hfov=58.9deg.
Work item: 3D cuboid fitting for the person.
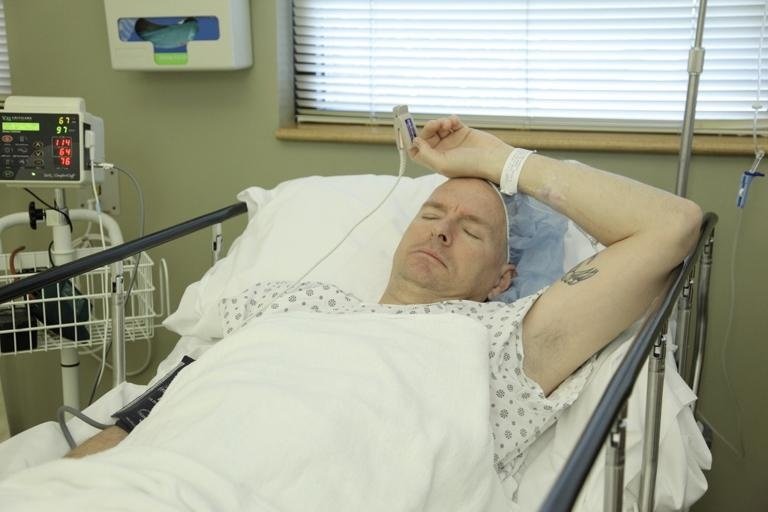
[{"bbox_3d":[0.449,0.020,2.220,1.143,0.629,1.530,18,33,35],"label":"person"}]

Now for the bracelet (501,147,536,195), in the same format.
[{"bbox_3d":[0.468,-0.295,2.337,0.079,0.149,0.162,21,36,33],"label":"bracelet"}]
